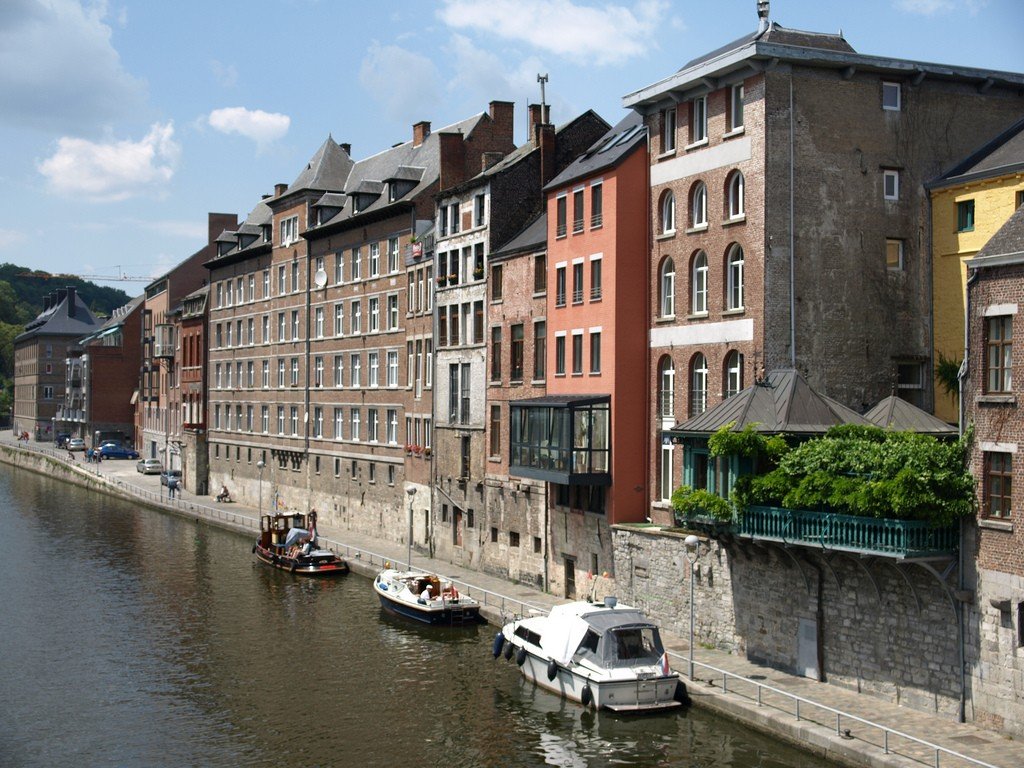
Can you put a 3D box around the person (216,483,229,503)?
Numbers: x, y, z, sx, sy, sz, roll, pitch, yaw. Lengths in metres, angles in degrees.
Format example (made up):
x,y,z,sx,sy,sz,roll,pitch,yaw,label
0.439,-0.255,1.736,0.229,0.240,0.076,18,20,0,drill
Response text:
x,y,z,sx,sy,sz,roll,pitch,yaw,label
-22.725,8.777,107.406,1.147,1.277,1.234,2,-3,12,person
